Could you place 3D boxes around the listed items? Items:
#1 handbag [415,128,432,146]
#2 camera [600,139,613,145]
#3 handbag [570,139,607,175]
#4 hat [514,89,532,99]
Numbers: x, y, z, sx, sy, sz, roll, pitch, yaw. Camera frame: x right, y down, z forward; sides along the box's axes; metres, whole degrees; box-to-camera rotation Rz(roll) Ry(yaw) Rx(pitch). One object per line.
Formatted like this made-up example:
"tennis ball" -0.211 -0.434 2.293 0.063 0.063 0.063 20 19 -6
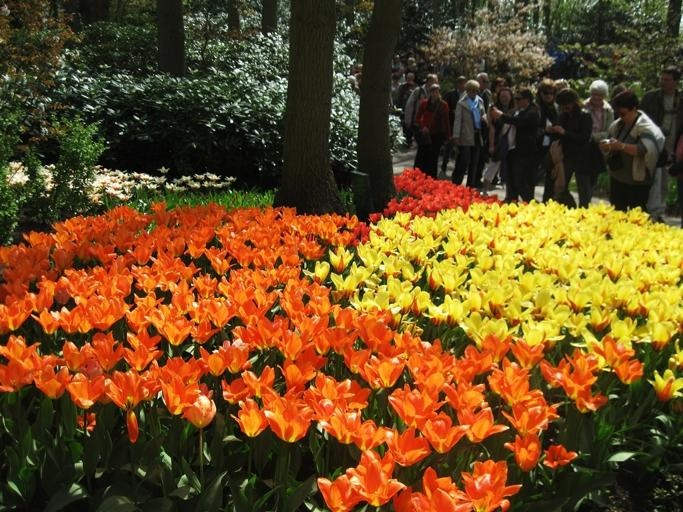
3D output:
"handbag" 1.599 -2.350 12.138 0.274 0.330 0.231 -2 -4 28
"camera" 3.500 -1.523 8.144 0.119 0.053 0.280 8 17 20
"handbag" 3.691 -1.387 9.233 0.407 0.492 0.474 -6 48 7
"hat" 3.021 -2.680 10.217 0.178 0.185 0.196 -2 -3 -28
